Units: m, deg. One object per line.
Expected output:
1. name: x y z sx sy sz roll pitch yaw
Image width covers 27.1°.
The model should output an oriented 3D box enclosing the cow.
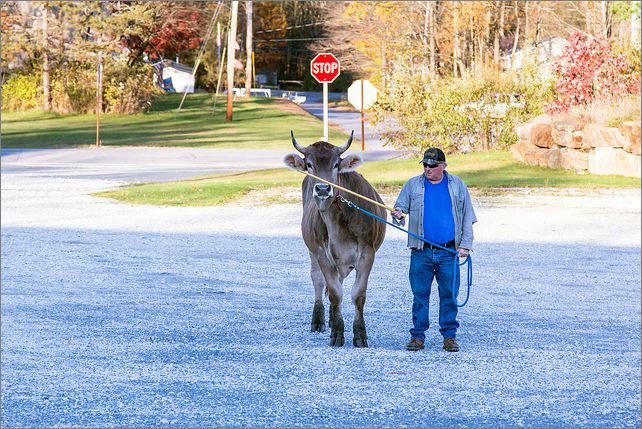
1. cow: 0.395 0.682 39.413 2.603 5.993 2.363 1 14 6
